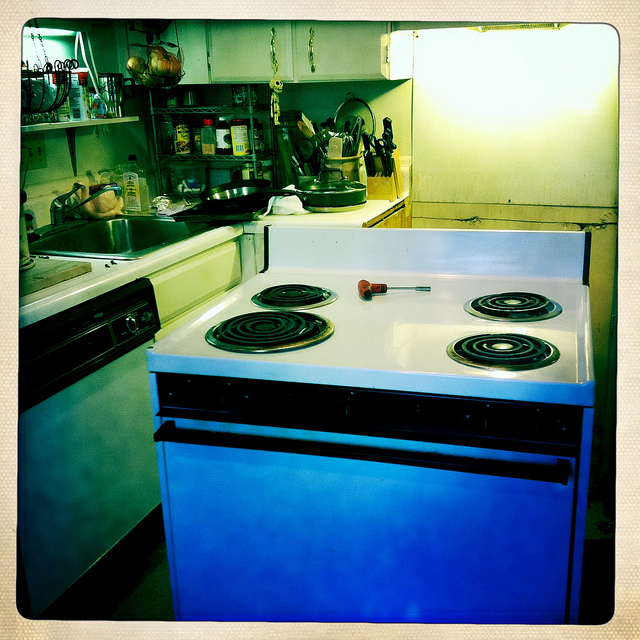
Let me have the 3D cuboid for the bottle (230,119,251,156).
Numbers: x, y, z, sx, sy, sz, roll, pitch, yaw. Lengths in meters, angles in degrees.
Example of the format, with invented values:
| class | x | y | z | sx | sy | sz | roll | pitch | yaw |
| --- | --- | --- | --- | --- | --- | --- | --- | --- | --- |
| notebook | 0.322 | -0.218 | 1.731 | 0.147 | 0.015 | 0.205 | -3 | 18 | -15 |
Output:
| class | x | y | z | sx | sy | sz | roll | pitch | yaw |
| --- | --- | --- | --- | --- | --- | --- | --- | --- | --- |
| bottle | -0.385 | -0.889 | 2.818 | 0.082 | 0.167 | 0.058 | -7 | 18 | -10 |

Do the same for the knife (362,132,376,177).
| class | x | y | z | sx | sy | sz | roll | pitch | yaw |
| --- | --- | --- | --- | --- | --- | --- | --- | --- | --- |
| knife | 0.232 | -0.766 | 2.711 | 0.034 | 0.266 | 0.035 | -7 | 14 | 6 |

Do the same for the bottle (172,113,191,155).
| class | x | y | z | sx | sy | sz | roll | pitch | yaw |
| --- | --- | --- | --- | --- | --- | --- | --- | --- | --- |
| bottle | -0.705 | -0.944 | 2.931 | 0.087 | 0.194 | 0.106 | -8 | 19 | -11 |

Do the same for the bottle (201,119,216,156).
| class | x | y | z | sx | sy | sz | roll | pitch | yaw |
| --- | --- | --- | --- | --- | --- | --- | --- | --- | --- |
| bottle | -0.561 | -0.925 | 2.912 | 0.075 | 0.163 | 0.065 | -9 | 19 | -14 |

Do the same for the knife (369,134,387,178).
| class | x | y | z | sx | sy | sz | roll | pitch | yaw |
| --- | --- | --- | --- | --- | --- | --- | --- | --- | --- |
| knife | 0.299 | -0.756 | 2.703 | 0.038 | 0.216 | 0.062 | -30 | 22 | -27 |

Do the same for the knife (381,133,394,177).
| class | x | y | z | sx | sy | sz | roll | pitch | yaw |
| --- | --- | --- | --- | --- | --- | --- | --- | --- | --- |
| knife | 0.316 | -0.753 | 2.652 | 0.017 | 0.160 | 0.057 | 6 | 36 | 22 |

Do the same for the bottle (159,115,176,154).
| class | x | y | z | sx | sy | sz | roll | pitch | yaw |
| --- | --- | --- | --- | --- | --- | --- | --- | --- | --- |
| bottle | -0.783 | -0.950 | 2.953 | 0.109 | 0.186 | 0.043 | 4 | 20 | 22 |

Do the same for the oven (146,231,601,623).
| class | x | y | z | sx | sy | sz | roll | pitch | yaw |
| --- | --- | --- | --- | --- | --- | --- | --- | --- | --- |
| oven | 0.156 | 0.301 | 1.334 | 0.778 | 0.915 | 0.663 | 4 | 17 | 19 |

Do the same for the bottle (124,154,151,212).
| class | x | y | z | sx | sy | sz | roll | pitch | yaw |
| --- | --- | --- | --- | --- | --- | --- | --- | --- | --- |
| bottle | -0.839 | -0.629 | 2.610 | 0.105 | 0.222 | 0.466 | -10 | 20 | -16 |

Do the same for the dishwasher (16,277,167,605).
| class | x | y | z | sx | sy | sz | roll | pitch | yaw |
| --- | --- | --- | --- | --- | --- | --- | --- | --- | --- |
| dishwasher | -0.586 | 0.349 | 1.554 | 0.095 | 0.810 | 0.622 | 0 | 19 | 14 |

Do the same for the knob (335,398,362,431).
| class | x | y | z | sx | sy | sz | roll | pitch | yaw |
| --- | --- | --- | --- | --- | --- | --- | --- | --- | --- |
| knob | 0.049 | 0.160 | 0.988 | 0.054 | 0.052 | 0.013 | 3 | 11 | 21 |

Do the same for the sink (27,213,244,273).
| class | x | y | z | sx | sy | sz | roll | pitch | yaw |
| --- | --- | --- | --- | --- | --- | --- | --- | --- | --- |
| sink | -0.689 | -0.295 | 2.084 | 0.342 | 0.167 | 0.427 | 11 | 25 | 18 |
